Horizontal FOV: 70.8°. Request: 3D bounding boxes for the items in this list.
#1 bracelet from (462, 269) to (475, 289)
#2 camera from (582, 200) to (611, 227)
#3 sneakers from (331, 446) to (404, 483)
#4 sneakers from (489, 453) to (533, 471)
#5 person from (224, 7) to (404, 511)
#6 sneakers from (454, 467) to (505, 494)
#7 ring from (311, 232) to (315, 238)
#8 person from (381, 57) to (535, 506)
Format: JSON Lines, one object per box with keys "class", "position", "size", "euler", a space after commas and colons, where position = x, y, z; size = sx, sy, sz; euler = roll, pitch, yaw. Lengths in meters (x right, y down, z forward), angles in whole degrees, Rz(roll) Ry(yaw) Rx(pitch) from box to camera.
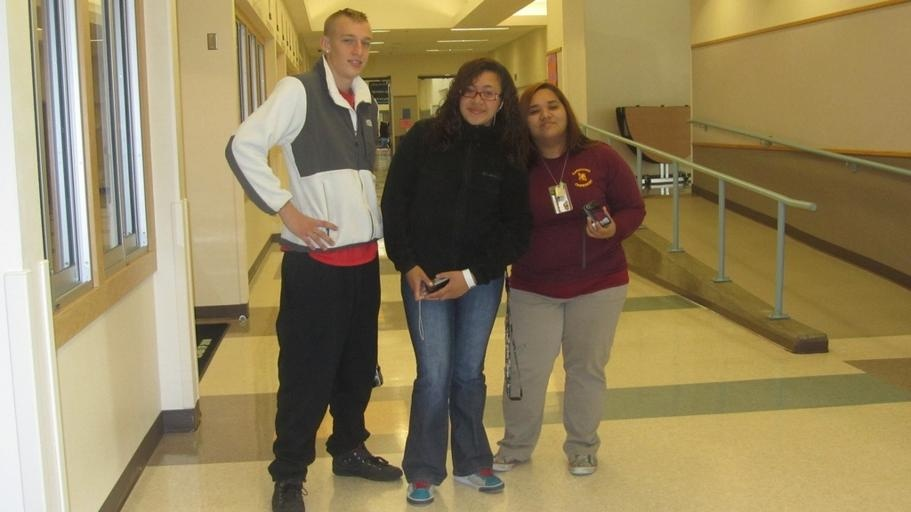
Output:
{"class": "bracelet", "position": [0.080, 0.129, 3.625], "size": [0.025, 0.083, 0.093], "euler": [-19, -9, -6]}
{"class": "camera", "position": [0.845, -0.245, 3.845], "size": [0.112, 0.179, 0.067], "euler": [-42, 18, -3]}
{"class": "sneakers", "position": [-0.548, 1.304, 4.078], "size": [0.560, 0.203, 0.173], "euler": [3, 6, -2]}
{"class": "sneakers", "position": [0.365, 1.326, 4.160], "size": [0.255, 0.091, 0.095], "euler": [1, 7, -23]}
{"class": "person", "position": [-0.800, 0.041, 3.739], "size": [0.875, 2.852, 0.639], "euler": [-6, 16, -20]}
{"class": "sneakers", "position": [0.157, 1.377, 3.996], "size": [0.295, 0.113, 0.132], "euler": [2, 0, 20]}
{"class": "ring", "position": [-0.795, -0.119, 3.564], "size": [0.035, 0.027, 0.007], "euler": [2, -4, 1]}
{"class": "person", "position": [0.025, 0.181, 3.762], "size": [0.870, 2.562, 0.514], "euler": [-2, 15, -6]}
